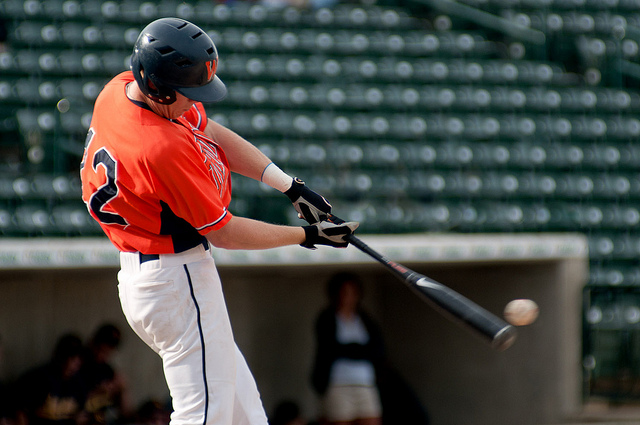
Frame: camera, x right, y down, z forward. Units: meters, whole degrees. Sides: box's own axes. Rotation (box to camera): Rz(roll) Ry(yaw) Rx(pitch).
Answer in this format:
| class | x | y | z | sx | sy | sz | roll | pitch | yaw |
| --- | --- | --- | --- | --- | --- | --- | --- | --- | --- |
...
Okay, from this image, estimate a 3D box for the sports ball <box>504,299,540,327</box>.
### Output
| class | x | y | z | sx | sy | sz | roll | pitch | yaw |
| --- | --- | --- | --- | --- | --- | --- | --- | --- | --- |
| sports ball | 1.560 | 0.775 | 11.787 | 0.296 | 0.206 | 0.297 | -6 | 7 | 1 |
